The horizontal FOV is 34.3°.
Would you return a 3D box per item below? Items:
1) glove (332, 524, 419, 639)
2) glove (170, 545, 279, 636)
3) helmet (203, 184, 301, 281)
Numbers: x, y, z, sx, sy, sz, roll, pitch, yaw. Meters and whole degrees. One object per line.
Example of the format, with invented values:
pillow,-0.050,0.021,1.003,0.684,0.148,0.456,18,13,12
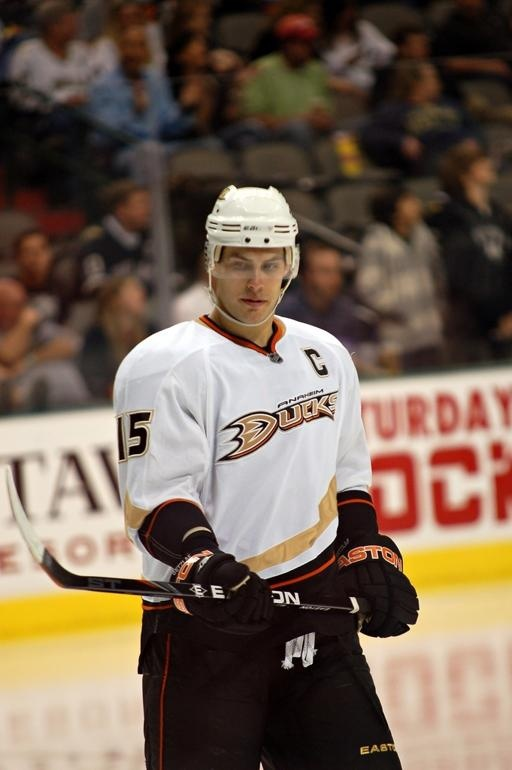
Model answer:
glove,0.220,0.398,1.678,0.167,0.088,0.192,5,51,-19
glove,-0.022,0.327,1.280,0.066,0.164,0.121,-62,19,-13
helmet,-0.026,-0.301,1.613,0.171,0.161,0.182,-1,6,-9
